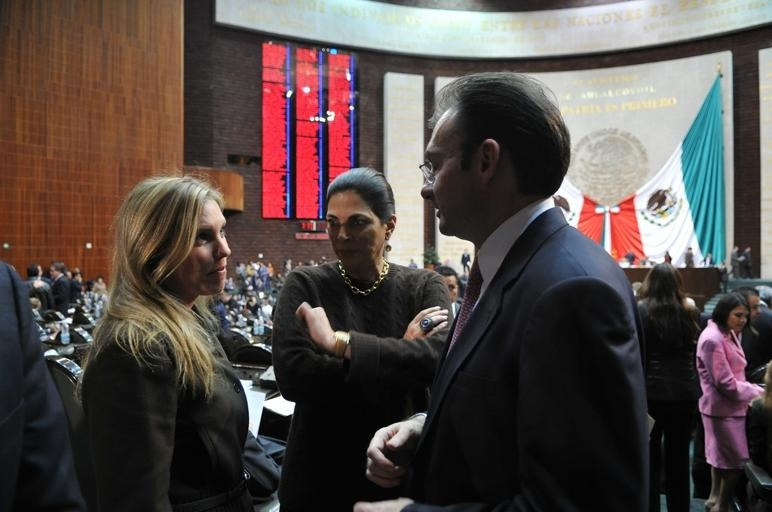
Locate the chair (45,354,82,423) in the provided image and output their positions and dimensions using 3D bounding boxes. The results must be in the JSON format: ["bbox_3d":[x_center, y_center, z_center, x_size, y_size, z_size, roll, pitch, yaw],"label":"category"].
[{"bbox_3d":[-1.933,0.718,3.666,0.234,0.349,0.220,2,17,-16],"label":"chair"}]

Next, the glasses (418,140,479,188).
[{"bbox_3d":[0.261,-0.365,2.465,0.209,0.197,0.181,9,10,23],"label":"glasses"}]

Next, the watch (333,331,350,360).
[{"bbox_3d":[-0.196,0.395,2.734,0.079,0.106,0.100,2,-3,1],"label":"watch"}]
